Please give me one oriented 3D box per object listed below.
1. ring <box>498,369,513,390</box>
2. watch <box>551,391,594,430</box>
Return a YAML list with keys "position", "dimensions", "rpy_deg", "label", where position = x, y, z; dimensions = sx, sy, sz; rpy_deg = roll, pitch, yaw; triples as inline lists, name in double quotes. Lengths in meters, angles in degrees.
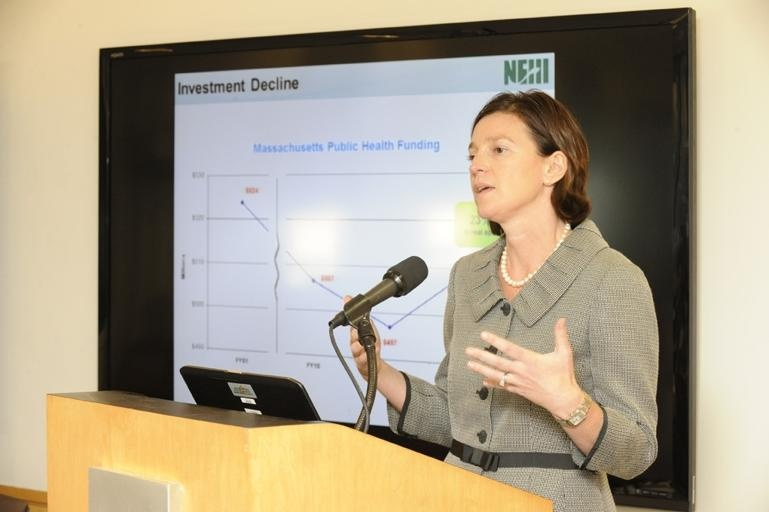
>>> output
- position: [0.326, 0.337, 1.657]
  dimensions: [0.011, 0.039, 0.029]
  rpy_deg: [9, 1, -9]
  label: "ring"
- position: [0.524, 0.428, 1.714]
  dimensions: [0.061, 0.087, 0.093]
  rpy_deg: [37, 22, -11]
  label: "watch"
